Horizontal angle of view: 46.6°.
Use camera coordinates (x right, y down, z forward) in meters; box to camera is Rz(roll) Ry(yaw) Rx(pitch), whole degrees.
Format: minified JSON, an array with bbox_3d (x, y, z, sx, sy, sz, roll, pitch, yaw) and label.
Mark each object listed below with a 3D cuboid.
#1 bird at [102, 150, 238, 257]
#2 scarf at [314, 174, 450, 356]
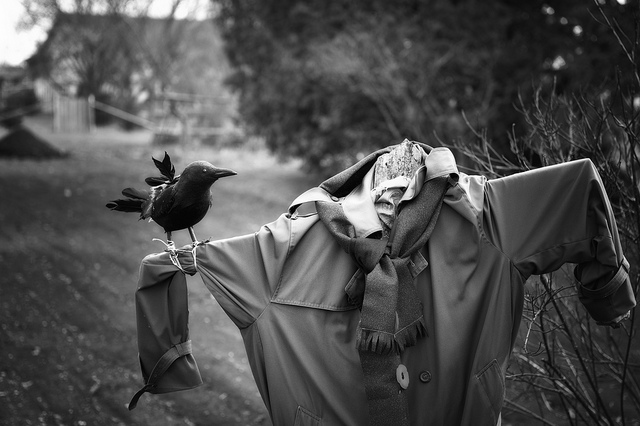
[{"bbox_3d":[-1.030,-0.099,5.192,0.810,0.707,0.515,9,17,25],"label":"bird"},{"bbox_3d":[0.433,0.400,4.997,0.953,0.246,1.272,-4,64,4],"label":"scarf"}]
